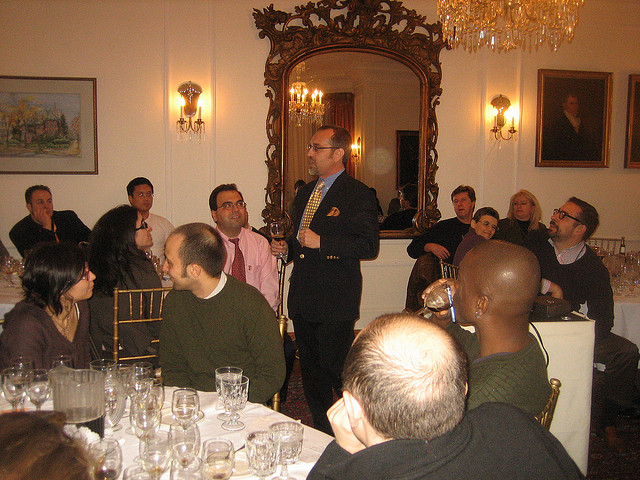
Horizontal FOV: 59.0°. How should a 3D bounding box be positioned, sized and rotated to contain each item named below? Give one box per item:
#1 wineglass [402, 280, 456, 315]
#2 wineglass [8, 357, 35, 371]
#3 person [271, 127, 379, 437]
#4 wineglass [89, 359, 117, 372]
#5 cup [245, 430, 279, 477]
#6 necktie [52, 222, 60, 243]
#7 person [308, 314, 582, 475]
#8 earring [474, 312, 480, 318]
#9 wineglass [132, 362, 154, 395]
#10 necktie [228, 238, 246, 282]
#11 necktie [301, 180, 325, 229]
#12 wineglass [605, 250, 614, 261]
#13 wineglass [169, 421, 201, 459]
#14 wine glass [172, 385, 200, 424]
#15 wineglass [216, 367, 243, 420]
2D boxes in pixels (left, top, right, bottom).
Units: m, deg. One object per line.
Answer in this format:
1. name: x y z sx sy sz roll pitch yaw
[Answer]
1. wineglass: 0.561 0.268 2.617 0.141 0.162 0.084 3 7 29
2. wineglass: -1.288 0.531 2.440 0.066 0.069 0.067 1 -6 1
3. person: -0.023 0.352 3.809 0.589 2.121 0.741 -8 12 -43
4. wineglass: -0.945 0.549 2.486 0.066 0.051 0.066 6 -6 -37
5. cup: -0.205 0.782 2.096 0.134 0.158 0.134 0 1 0
6. necktie: -2.431 -0.084 5.217 0.048 0.148 0.111 -3 7 -21
7. person: 0.385 0.499 1.803 0.779 0.515 0.195 -2 7 -14
8. earring: 0.655 0.312 2.350 0.018 0.019 0.004 3 37 5
9. wineglass: -0.763 0.595 2.470 0.115 0.124 0.121 2 3 -11
10. necktie: -0.573 0.137 3.957 0.108 0.297 0.130 -4 7 -27
11. necktie: -0.034 -0.238 3.754 0.139 0.322 0.107 -2 7 -18
12. wineglass: 2.711 0.140 5.298 0.071 0.032 0.700 3 7 26
13. wineglass: -0.490 0.750 2.121 0.104 0.125 0.110 0 4 3
14. wine glass: -0.534 0.662 2.262 0.114 0.138 0.119 0 -10 -3
15. wineglass: -0.362 0.685 2.451 0.147 0.250 0.153 -3 -11 2
